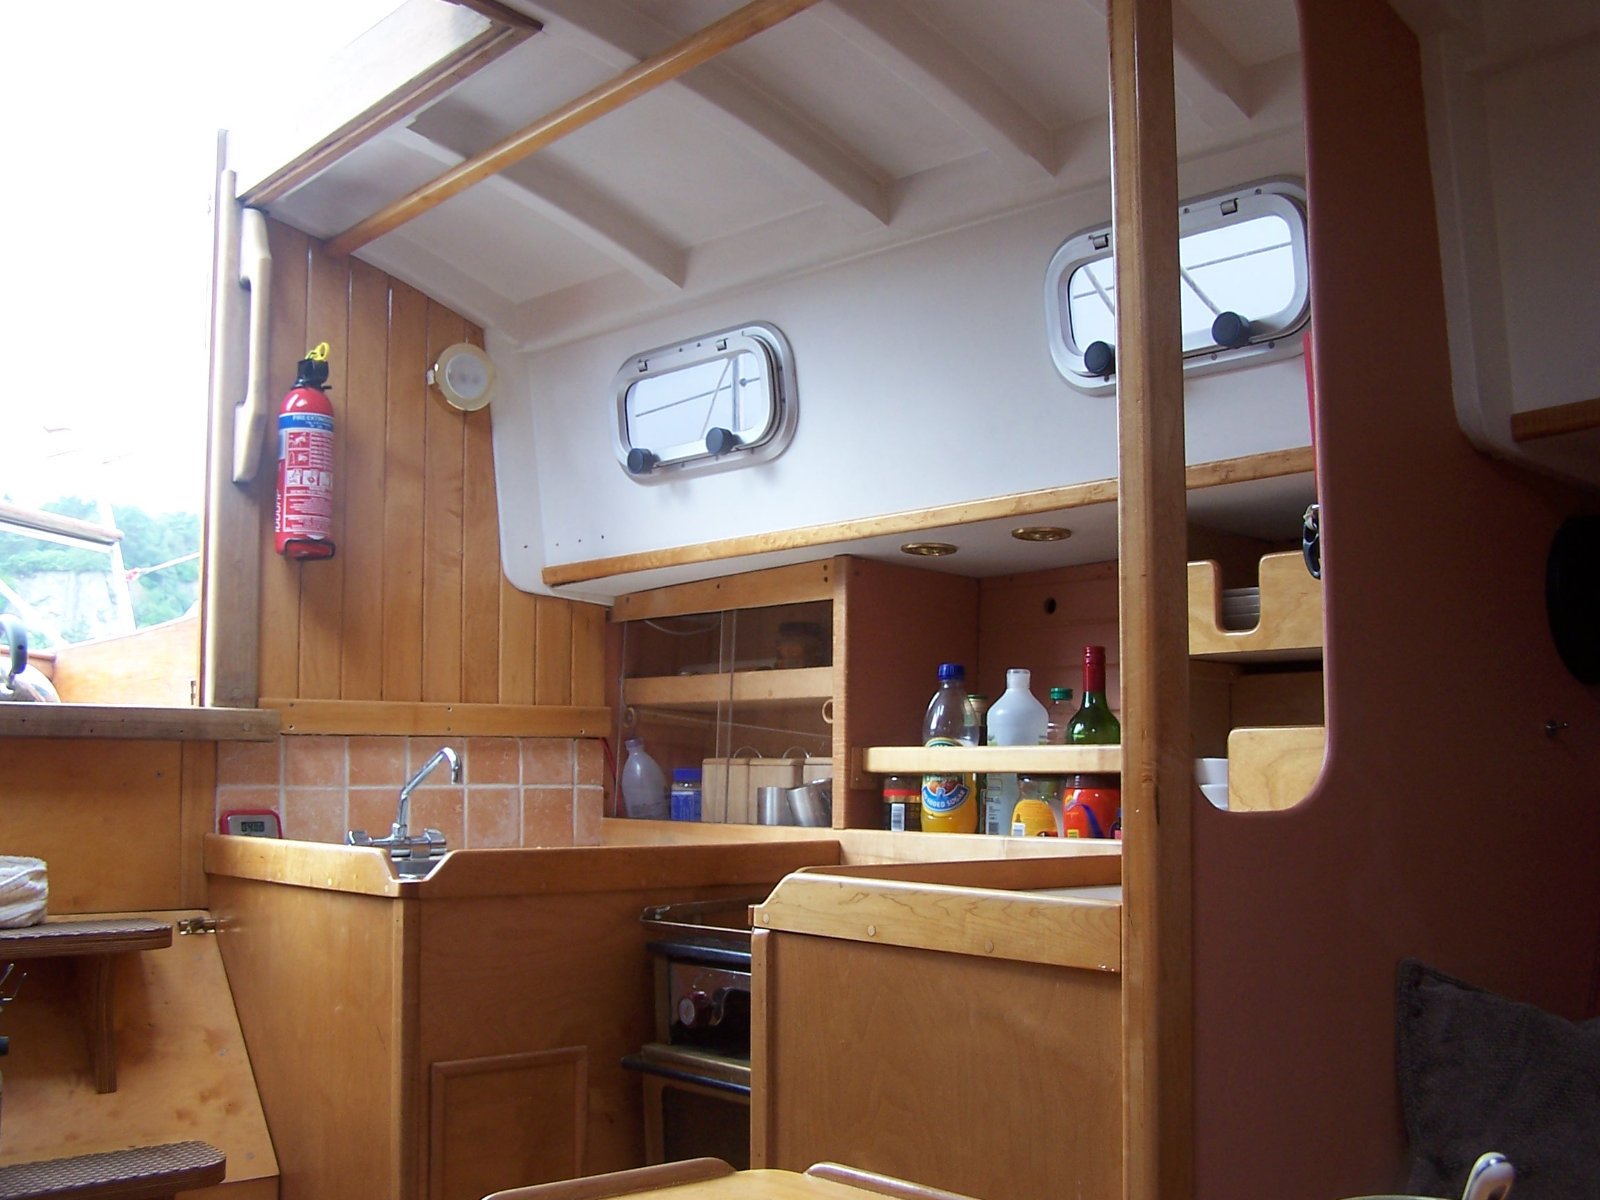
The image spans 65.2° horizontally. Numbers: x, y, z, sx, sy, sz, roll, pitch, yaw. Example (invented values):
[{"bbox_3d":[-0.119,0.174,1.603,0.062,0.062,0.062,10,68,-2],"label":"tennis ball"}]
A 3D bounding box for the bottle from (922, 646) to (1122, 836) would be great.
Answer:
[{"bbox_3d":[0.542,0.294,3.034,0.311,0.530,0.371,1,1,-41],"label":"bottle"}]

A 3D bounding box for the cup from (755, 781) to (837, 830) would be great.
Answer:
[{"bbox_3d":[-0.016,0.554,3.441,0.058,0.127,0.287,5,-7,-42],"label":"cup"}]

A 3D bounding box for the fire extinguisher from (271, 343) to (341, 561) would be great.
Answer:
[{"bbox_3d":[-1.333,-0.385,3.429,0.145,0.587,0.150,6,-9,-35],"label":"fire extinguisher"}]

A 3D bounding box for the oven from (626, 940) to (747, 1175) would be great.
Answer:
[{"bbox_3d":[-0.177,0.896,2.488,0.361,0.460,0.199,-5,-7,42],"label":"oven"}]
